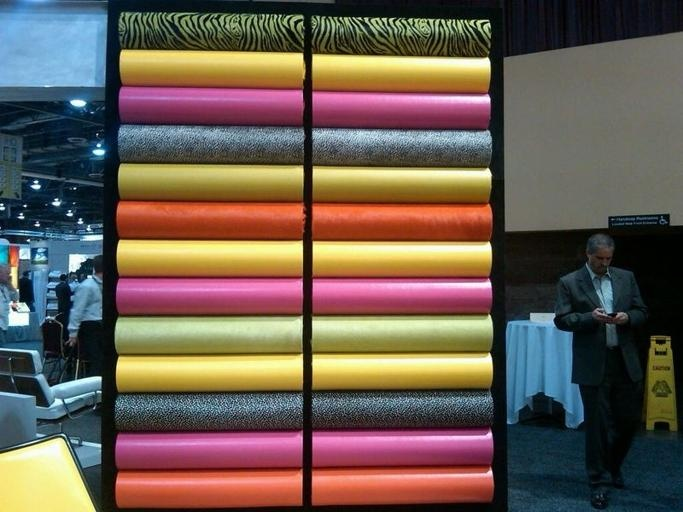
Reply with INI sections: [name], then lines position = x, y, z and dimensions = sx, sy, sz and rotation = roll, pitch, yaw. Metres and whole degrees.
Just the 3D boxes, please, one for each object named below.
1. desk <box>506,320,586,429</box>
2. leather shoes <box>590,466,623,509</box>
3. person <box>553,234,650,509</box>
[desk]
position = 1.753, 0.980, 7.588
dimensions = 0.718, 0.880, 0.685
rotation = -7, 8, -34
[leather shoes]
position = 1.883, 1.622, 6.077
dimensions = 0.135, 0.162, 0.391
rotation = -8, -4, 39
[person]
position = 1.811, 0.785, 6.056
dimensions = 0.626, 1.744, 0.378
rotation = -1, 0, 11
